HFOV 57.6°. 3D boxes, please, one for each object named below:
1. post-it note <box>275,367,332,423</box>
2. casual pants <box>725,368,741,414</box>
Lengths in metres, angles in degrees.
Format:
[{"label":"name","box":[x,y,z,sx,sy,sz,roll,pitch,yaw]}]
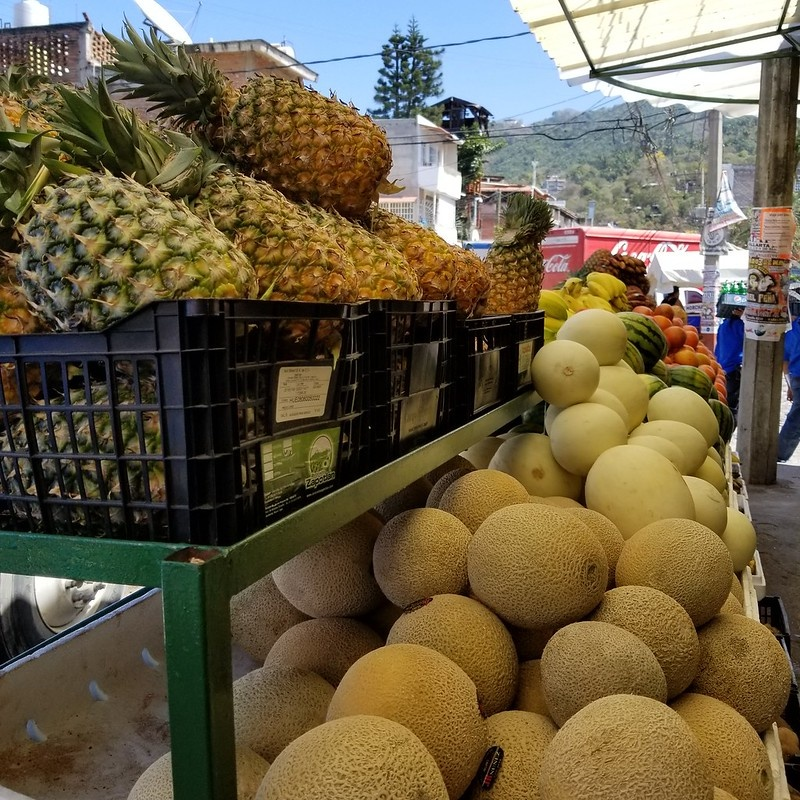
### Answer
[{"label":"post-it note","box":[-0.143,-0.008,1.070,0.005,0.051,0.089,11,11,27]},{"label":"casual pants","box":[4.050,-0.139,8.865,0.210,0.578,0.356,-5,8,21]}]
